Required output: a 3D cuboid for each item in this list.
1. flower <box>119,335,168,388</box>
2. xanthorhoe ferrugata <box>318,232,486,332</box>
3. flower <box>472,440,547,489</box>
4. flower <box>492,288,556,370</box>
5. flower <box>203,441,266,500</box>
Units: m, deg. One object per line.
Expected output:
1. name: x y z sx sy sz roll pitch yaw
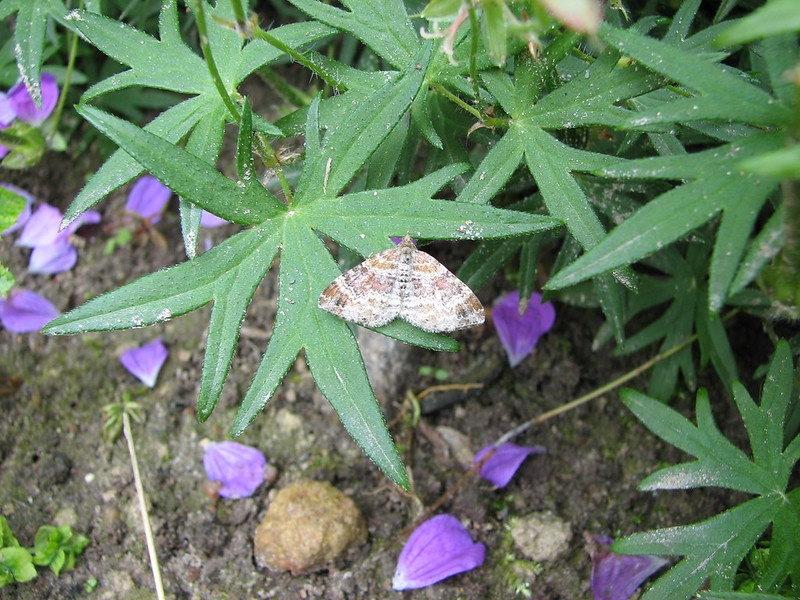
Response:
1. flower: -0.866 0.194 2.538 0.143 0.058 0.153 31 59 5
2. xanthorhoe ferrugata: 0.006 -0.020 1.899 0.347 0.114 0.273 5 86 2
3. flower: 0.317 0.489 2.245 0.182 0.048 0.132 -32 98 -6
4. flower: 0.423 0.056 2.443 0.223 0.190 0.190 -23 65 -24
5. flower: -0.537 0.542 2.357 0.224 0.077 0.158 19 58 -3
